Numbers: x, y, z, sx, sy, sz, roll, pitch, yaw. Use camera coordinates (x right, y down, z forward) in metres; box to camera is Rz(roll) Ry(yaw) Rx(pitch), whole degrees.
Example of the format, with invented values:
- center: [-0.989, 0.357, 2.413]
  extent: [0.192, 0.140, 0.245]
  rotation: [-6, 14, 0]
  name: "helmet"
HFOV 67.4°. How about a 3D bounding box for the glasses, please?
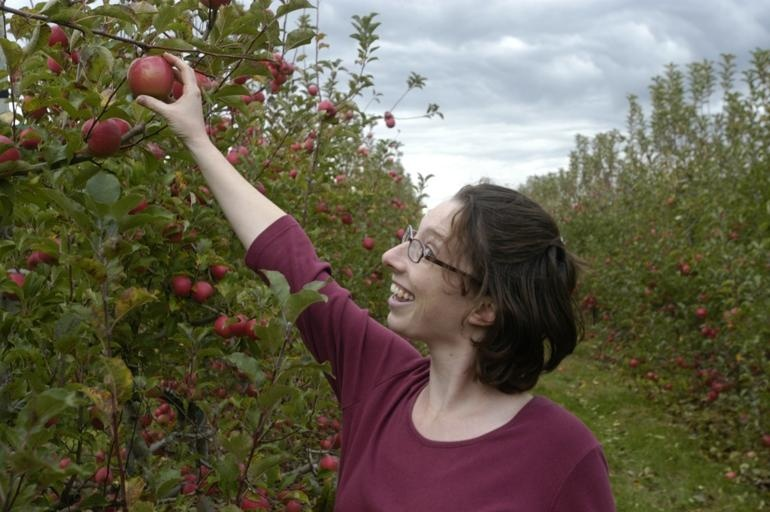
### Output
- center: [0.192, 0.003, 2.003]
  extent: [0.201, 0.062, 0.199]
  rotation: [26, 4, -18]
  name: "glasses"
